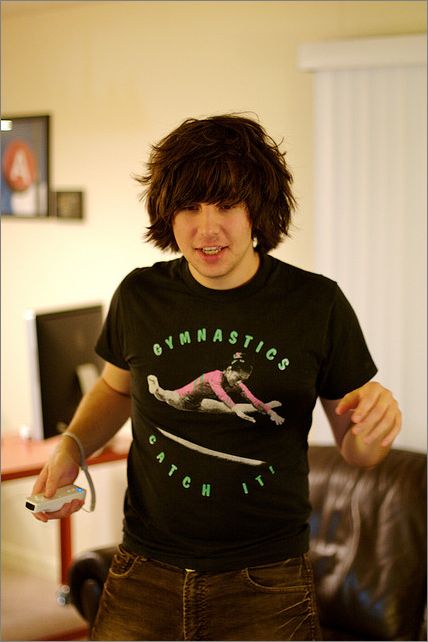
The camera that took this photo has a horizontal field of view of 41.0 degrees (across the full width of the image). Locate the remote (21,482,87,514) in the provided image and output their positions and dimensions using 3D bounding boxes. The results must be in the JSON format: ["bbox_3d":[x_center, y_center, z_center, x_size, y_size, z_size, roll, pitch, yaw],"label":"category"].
[{"bbox_3d":[-0.289,0.317,1.033,0.108,0.025,0.048,-9,11,-44],"label":"remote"}]

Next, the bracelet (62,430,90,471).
[{"bbox_3d":[-0.271,0.261,1.149,0.061,0.075,0.021,-10,-10,37],"label":"bracelet"}]
